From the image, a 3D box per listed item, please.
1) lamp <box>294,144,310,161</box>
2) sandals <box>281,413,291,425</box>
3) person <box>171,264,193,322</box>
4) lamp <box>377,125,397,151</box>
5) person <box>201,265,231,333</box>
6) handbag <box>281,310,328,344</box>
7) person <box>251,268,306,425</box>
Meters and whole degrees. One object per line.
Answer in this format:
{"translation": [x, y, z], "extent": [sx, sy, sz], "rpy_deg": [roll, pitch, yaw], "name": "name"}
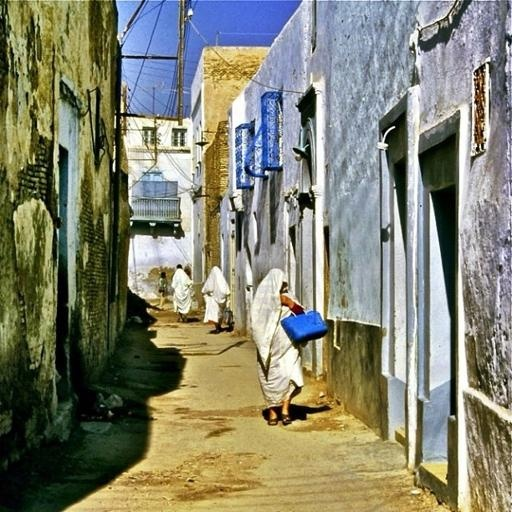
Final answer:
{"translation": [0.709, -1.656, 12.765], "extent": [0.184, 0.188, 0.273], "rpy_deg": [-6, -9, 28], "name": "lamp"}
{"translation": [0.325, 1.808, 9.202], "extent": [0.056, 0.110, 0.221], "rpy_deg": [0, -11, -2], "name": "sandals"}
{"translation": [-2.376, 1.155, 26.490], "extent": [0.591, 1.860, 2.508], "rpy_deg": [2, -4, -6], "name": "person"}
{"translation": [1.268, -1.170, 8.205], "extent": [0.161, 0.232, 0.685], "rpy_deg": [2, -5, 4], "name": "lamp"}
{"translation": [-1.076, 1.135, 21.996], "extent": [0.723, 1.760, 0.906], "rpy_deg": [2, -3, -5], "name": "person"}
{"translation": [0.523, 0.798, 9.424], "extent": [0.276, 0.342, 0.145], "rpy_deg": [-10, -36, -23], "name": "handbag"}
{"translation": [0.232, 1.023, 9.460], "extent": [0.586, 1.744, 0.547], "rpy_deg": [1, -2, 4], "name": "person"}
